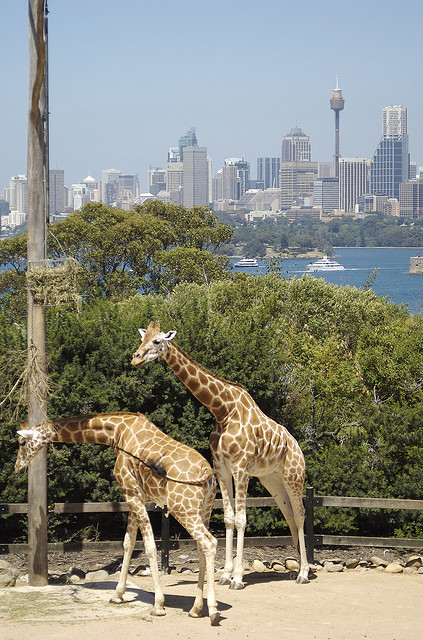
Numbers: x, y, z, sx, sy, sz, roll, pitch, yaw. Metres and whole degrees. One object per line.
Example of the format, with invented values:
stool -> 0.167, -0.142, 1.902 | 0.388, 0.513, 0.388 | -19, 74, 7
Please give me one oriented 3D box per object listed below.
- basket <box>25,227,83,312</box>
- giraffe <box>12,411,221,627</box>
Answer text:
basket -> -2.135, -0.682, 20.872 | 0.680, 1.058, 0.746 | -3, -4, -27
giraffe -> -1.210, 2.555, 20.259 | 2.875, 2.965, 0.888 | 1, 4, 11
